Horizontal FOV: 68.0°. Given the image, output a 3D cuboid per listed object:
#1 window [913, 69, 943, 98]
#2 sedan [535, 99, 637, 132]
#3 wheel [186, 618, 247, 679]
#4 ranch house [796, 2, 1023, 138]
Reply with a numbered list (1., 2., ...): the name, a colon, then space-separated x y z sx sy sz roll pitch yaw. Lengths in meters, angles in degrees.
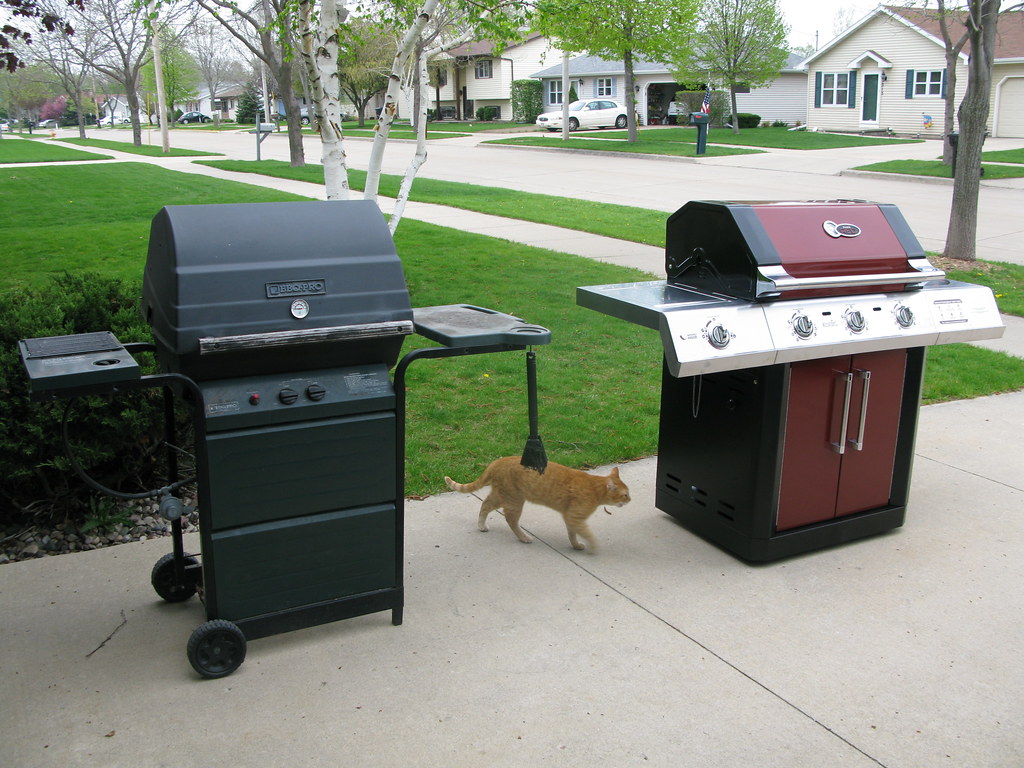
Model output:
1. window: 20.094 -14.417 36.399 0.110 1.173 1.332 -16 25 -34
2. sedan: 3.885 -15.365 43.504 3.559 1.808 6.731 13 22 40
3. wheel: -1.345 1.213 3.470 0.244 0.242 0.095 4 -2 -22
4. ranch house: 19.691 -15.318 37.641 3.308 6.349 9.821 -12 20 -30
